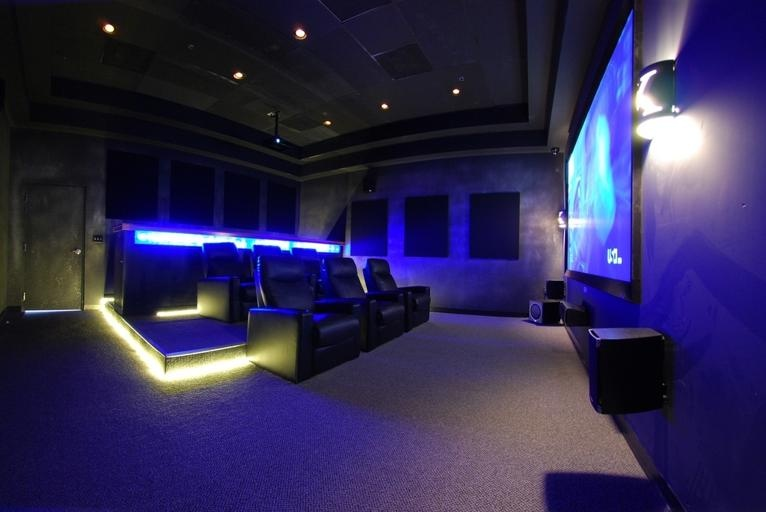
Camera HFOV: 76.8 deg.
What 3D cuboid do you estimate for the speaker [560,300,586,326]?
[{"bbox_3d":[2.198,0.678,5.578,0.239,0.166,0.337,-4,-3,14],"label":"speaker"}]

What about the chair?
[{"bbox_3d":[-0.960,0.594,6.020,3.519,1.276,1.850,-4,3,-38],"label":"chair"}]

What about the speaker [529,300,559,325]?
[{"bbox_3d":[2.502,0.832,7.380,0.370,0.375,0.360,-1,2,-28],"label":"speaker"}]

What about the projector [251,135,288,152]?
[{"bbox_3d":[-1.998,-2.001,8.486,0.365,0.102,0.346,3,-1,37],"label":"projector"}]
